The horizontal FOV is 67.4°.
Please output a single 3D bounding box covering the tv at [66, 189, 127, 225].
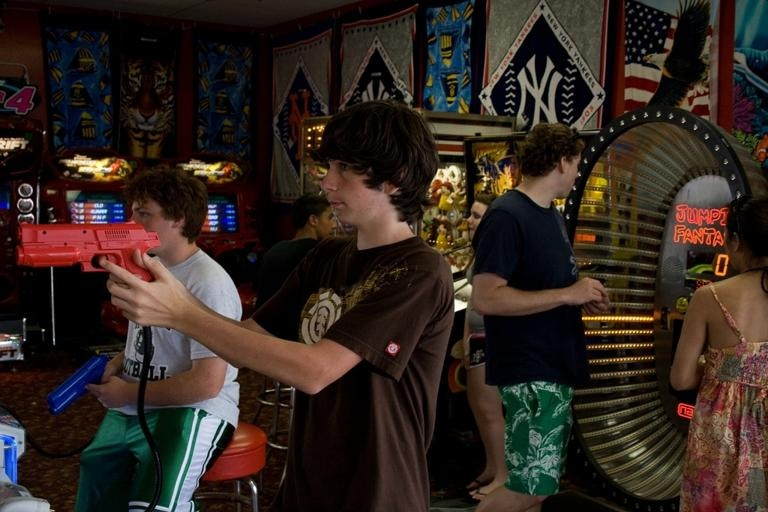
[{"bbox_3d":[-3.391,-0.589,6.730,0.732,0.524,0.096,2,-6,-32],"label":"tv"}]
